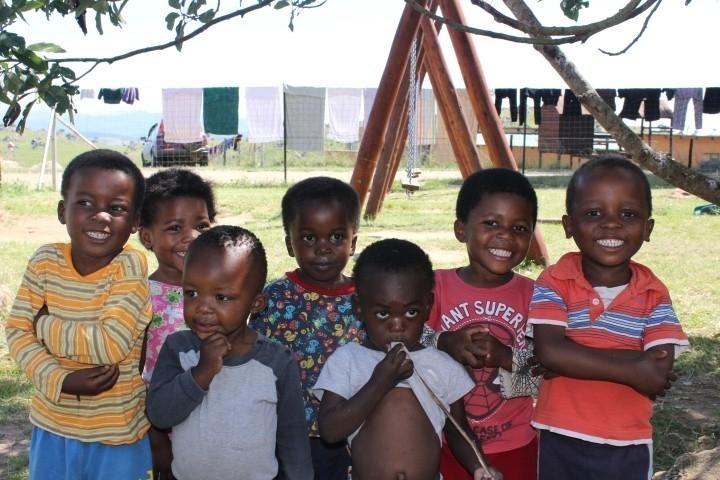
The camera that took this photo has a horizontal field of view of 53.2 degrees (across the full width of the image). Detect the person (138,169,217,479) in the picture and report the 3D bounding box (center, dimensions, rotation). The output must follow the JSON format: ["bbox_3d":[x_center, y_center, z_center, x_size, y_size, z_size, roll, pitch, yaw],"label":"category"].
[{"bbox_3d":[-1.035,0.358,4.011,0.544,1.497,0.600,1,-4,-5],"label":"person"}]

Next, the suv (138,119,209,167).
[{"bbox_3d":[-4.617,-2.364,17.962,1.460,1.121,6.637,1,5,-17],"label":"suv"}]

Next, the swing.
[{"bbox_3d":[0.808,-1.772,10.893,0.318,2.370,0.264,0,12,-5],"label":"swing"}]
